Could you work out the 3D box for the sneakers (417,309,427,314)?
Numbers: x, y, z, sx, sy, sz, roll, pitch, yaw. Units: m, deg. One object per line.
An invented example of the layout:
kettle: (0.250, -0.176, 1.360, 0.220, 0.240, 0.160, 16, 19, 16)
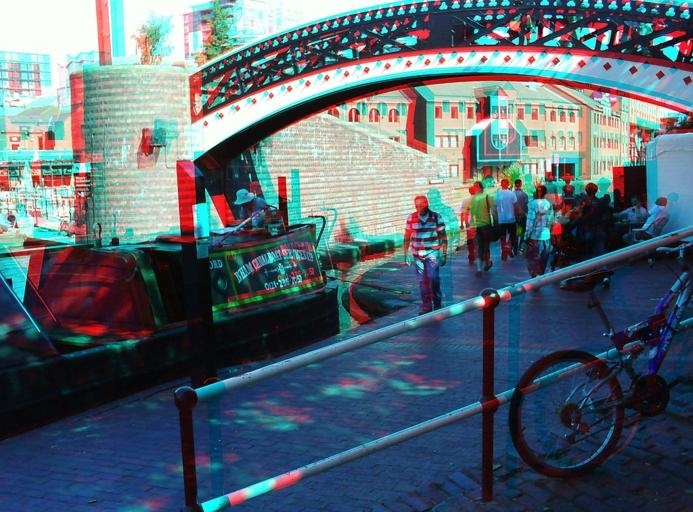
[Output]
sneakers: (1.340, 0.978, 9.063, 0.119, 0.128, 0.353, -3, -6, 20)
